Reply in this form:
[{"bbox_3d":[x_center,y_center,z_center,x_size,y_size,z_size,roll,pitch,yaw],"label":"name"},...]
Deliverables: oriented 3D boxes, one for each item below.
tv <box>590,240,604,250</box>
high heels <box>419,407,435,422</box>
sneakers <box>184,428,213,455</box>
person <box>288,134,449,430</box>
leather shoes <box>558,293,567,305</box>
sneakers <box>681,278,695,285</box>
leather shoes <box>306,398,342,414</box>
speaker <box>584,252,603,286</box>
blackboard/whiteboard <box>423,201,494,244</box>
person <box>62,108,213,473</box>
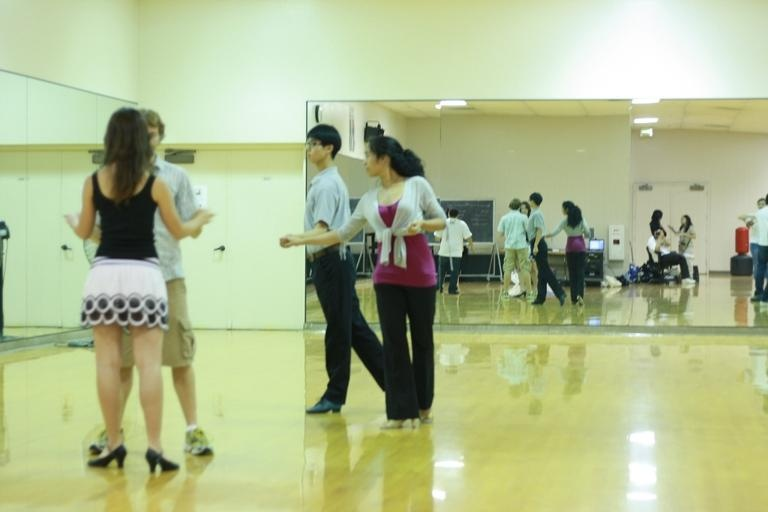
[{"bbox_3d":[2.701,-0.135,8.862,0.218,0.118,0.149,-3,-5,15],"label":"tv"},{"bbox_3d":[0.318,1.242,5.436,0.075,0.114,0.118,3,-7,-38],"label":"high heels"},{"bbox_3d":[-1.319,1.299,4.920,0.220,0.152,0.143,-4,-6,36],"label":"sneakers"},{"bbox_3d":[0.052,0.193,5.343,0.808,2.188,0.379,3,7,27],"label":"person"},{"bbox_3d":[2.292,0.545,9.010,0.080,0.150,0.142,-5,-9,-29],"label":"leather shoes"},{"bbox_3d":[4.305,0.365,9.891,0.181,0.122,0.104,-2,4,9],"label":"sneakers"},{"bbox_3d":[-0.482,1.228,5.718,0.248,0.103,0.129,3,-4,-3],"label":"leather shoes"},{"bbox_3d":[2.687,0.179,8.893,0.348,0.498,0.364,0,1,13],"label":"speaker"},{"bbox_3d":[0.897,-0.368,7.933,0.548,0.390,0.020,2,-2,12],"label":"blackboard/whiteboard"},{"bbox_3d":[-1.621,0.239,4.535,0.708,2.365,0.285,-1,6,-9],"label":"person"}]
